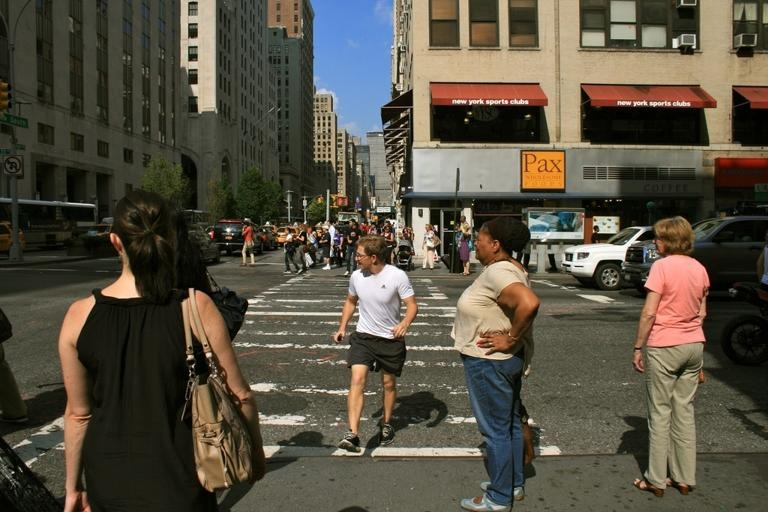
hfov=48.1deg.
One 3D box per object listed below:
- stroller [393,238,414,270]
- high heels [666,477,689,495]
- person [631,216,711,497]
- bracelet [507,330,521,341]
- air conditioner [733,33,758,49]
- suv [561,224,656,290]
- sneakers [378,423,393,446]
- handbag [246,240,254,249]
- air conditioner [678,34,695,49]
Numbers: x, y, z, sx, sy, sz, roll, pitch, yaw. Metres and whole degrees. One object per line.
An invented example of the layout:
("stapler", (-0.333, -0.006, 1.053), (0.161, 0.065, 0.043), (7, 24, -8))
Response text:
("stroller", (0.855, 0.002, 34.346), (0.762, 1.166, 1.108), (0, -1, 4))
("high heels", (4.807, 3.756, 13.970), (0.144, 0.161, 0.394), (0, -4, 8))
("person", (4.713, 1.612, 14.137), (1.063, 4.325, 1.425), (3, 10, 21))
("bracelet", (2.059, 1.258, 13.521), (0.157, 0.081, 0.203), (5, 1, 21))
("air conditioner", (17.358, -10.171, 41.388), (0.996, 0.746, 0.790), (1, 3, -12))
("suv", (7.204, 0.109, 27.569), (2.697, 1.556, 1.626), (1, -1, 1))
("sneakers", (0.057, 3.074, 14.814), (0.255, 0.332, 0.199), (-2, 10, -4))
("handbag", (-5.684, -0.410, 36.505), (0.278, 0.396, 0.409), (16, 11, 29))
("air conditioner", (14.483, -10.233, 41.181), (0.911, 0.552, 0.653), (-2, 4, -7))
